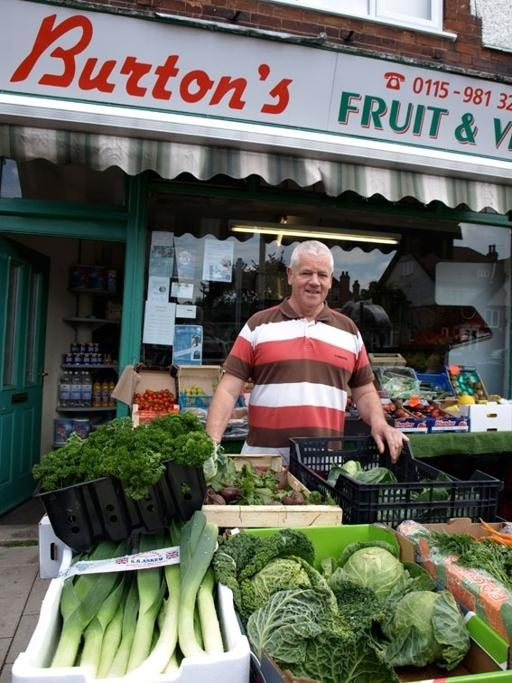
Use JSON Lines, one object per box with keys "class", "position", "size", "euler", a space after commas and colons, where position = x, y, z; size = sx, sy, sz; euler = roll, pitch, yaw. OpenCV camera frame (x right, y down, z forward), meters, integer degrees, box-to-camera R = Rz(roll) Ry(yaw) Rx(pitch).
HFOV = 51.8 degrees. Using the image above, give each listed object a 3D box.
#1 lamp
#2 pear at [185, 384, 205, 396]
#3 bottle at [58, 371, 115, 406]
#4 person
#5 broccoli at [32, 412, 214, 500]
{"class": "lamp", "position": [0.607, -1.121, 5.449], "size": [1.601, 0.135, 0.314], "euler": [-2, 7, -19]}
{"class": "pear", "position": [-0.552, 0.428, 4.733], "size": [0.100, 0.038, 0.098], "euler": [-1, 3, -5]}
{"class": "bottle", "position": [-2.067, 0.573, 6.355], "size": [0.418, 0.375, 0.198], "euler": [1, 4, -9]}
{"class": "person", "position": [0.177, 0.085, 3.050], "size": [0.863, 1.223, 0.700], "euler": [3, 6, -16]}
{"class": "broccoli", "position": [-0.360, 0.312, 1.477], "size": [0.468, 0.192, 0.289], "euler": [0, 0, -3]}
